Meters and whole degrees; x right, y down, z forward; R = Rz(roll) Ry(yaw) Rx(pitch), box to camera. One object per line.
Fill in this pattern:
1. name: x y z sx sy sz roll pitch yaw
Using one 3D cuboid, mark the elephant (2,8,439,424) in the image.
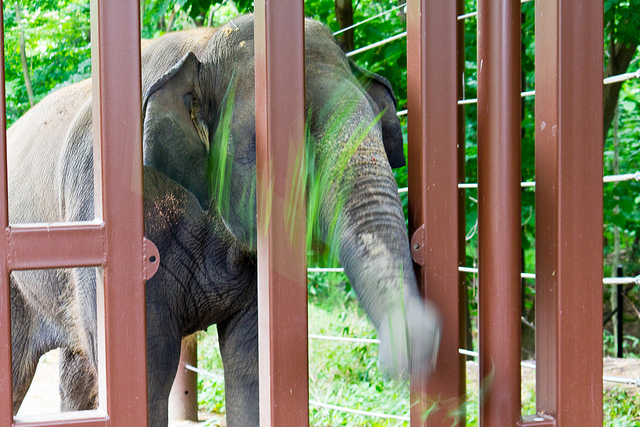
1. elephant: -0.279 0.062 3.264 1.909 1.359 0.917 -17 -14 39
